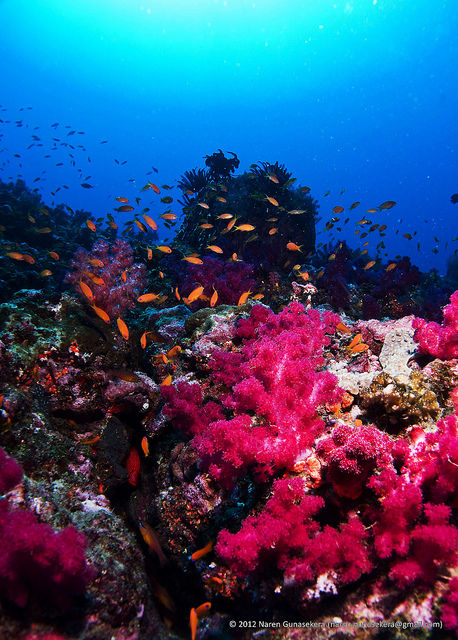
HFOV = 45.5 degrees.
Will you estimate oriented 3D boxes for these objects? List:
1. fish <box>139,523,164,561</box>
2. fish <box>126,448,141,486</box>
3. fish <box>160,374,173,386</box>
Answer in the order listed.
[{"bbox_3d":[-0.697,1.989,4.880,0.292,0.310,0.139,23,26,38],"label":"fish"},{"bbox_3d":[-0.972,1.519,5.569,0.145,0.304,0.338,5,20,-5],"label":"fish"},{"bbox_3d":[-0.643,0.624,5.634,0.045,0.182,0.101,36,38,26],"label":"fish"}]
